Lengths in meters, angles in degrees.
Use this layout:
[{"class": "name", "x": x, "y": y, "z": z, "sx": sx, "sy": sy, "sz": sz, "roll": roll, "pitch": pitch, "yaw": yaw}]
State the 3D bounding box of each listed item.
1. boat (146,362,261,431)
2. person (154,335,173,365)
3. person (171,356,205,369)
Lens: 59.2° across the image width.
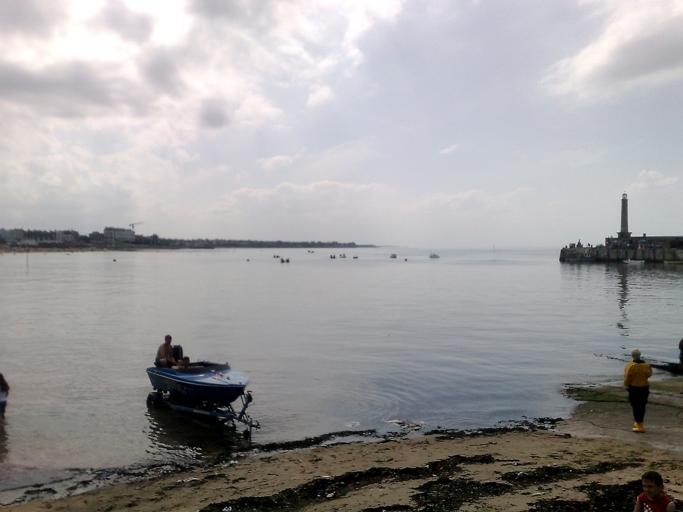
[{"class": "boat", "x": -6.532, "y": 6.613, "z": 28.311, "sx": 5.931, "sy": 1.826, "sz": 2.503, "roll": 3, "pitch": 7, "yaw": 45}, {"class": "person", "x": -9.091, "y": 4.594, "z": 30.884, "sx": 0.860, "sy": 1.336, "sz": 3.080, "roll": -6, "pitch": 10, "yaw": -17}, {"class": "person", "x": -7.656, "y": 5.332, "z": 29.493, "sx": 0.810, "sy": 0.386, "sz": 1.096, "roll": 4, "pitch": -6, "yaw": -44}]
